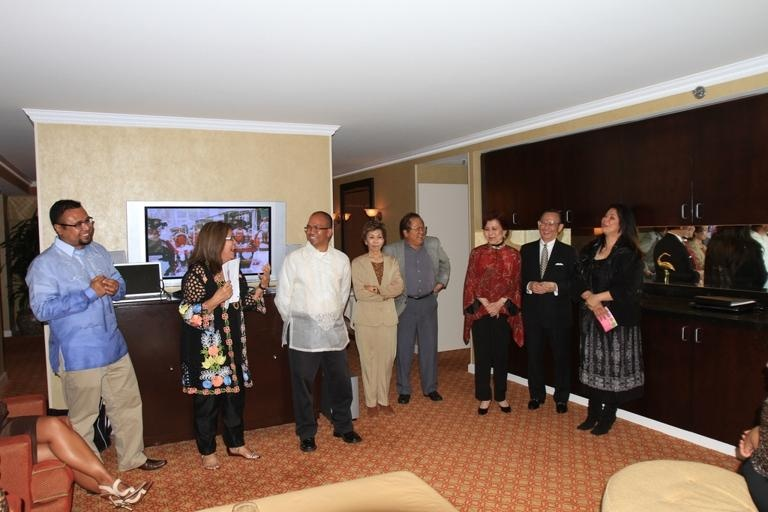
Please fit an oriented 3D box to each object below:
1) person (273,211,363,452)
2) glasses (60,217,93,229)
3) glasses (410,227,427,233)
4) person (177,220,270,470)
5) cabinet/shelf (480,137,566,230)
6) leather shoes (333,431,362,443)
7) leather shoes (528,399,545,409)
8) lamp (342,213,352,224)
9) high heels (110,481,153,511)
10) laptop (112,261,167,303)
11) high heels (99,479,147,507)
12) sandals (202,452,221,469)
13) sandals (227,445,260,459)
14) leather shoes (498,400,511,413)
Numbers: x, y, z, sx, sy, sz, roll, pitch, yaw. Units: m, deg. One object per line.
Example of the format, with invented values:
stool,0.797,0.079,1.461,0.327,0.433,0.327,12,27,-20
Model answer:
person,-0.610,0.694,4.828,0.721,2.175,0.325,-3,8,-12
glasses,-2.512,-0.268,4.294,0.242,0.086,0.145,-9,11,-42
glasses,0.395,-0.293,5.815,0.092,0.072,0.235,5,11,41
person,-1.400,0.774,4.559,0.693,2.135,0.371,-5,9,-25
cabinet/shelf,1.697,-0.871,6.231,0.439,1.104,1.196,-2,2,-42
leather shoes,-0.338,1.723,5.009,0.240,0.103,0.111,-1,-2,32
leather shoes,1.657,1.603,5.671,0.196,0.087,0.077,7,-8,-40
lamp,-0.701,-0.719,9.934,0.166,0.112,0.155,3,-9,-27
high heels,-1.906,1.841,4.119,0.404,0.147,0.155,-11,-4,-16
laptop,-2.371,0.245,5.114,0.463,0.325,0.367,-1,-1,-25
high heels,-1.965,1.827,4.041,0.421,0.153,0.161,-1,-1,12
sandals,-1.529,1.808,4.621,0.076,0.108,0.245,3,-11,-35
sandals,-1.277,1.781,4.790,0.284,0.122,0.120,1,1,2
leather shoes,1.284,1.595,5.567,0.090,0.052,0.158,-2,5,-12
